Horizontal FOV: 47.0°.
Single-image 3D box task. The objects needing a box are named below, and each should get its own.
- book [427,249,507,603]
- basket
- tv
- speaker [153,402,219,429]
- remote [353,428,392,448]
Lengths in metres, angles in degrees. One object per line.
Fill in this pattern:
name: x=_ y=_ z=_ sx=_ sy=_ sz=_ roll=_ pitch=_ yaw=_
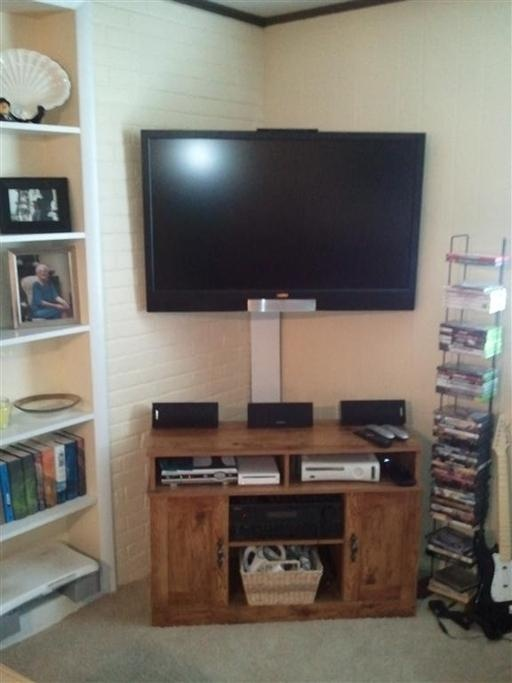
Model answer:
book: x=0.626 y=0.250 z=1.746 sx=0.152 sy=1.114 sz=0.316 roll=-11 pitch=14 yaw=-39
basket: x=0.068 y=0.691 z=1.746 sx=0.194 sy=0.119 sz=0.188 roll=1 pitch=4 yaw=-4
tv: x=0.088 y=-0.385 z=1.765 sx=0.571 sy=0.398 sz=0.061 roll=0 pitch=19 yaw=0
speaker: x=-0.228 y=0.227 z=1.922 sx=0.173 sy=0.089 sz=0.036 roll=0 pitch=0 yaw=-3
remote: x=0.352 y=0.279 z=1.777 sx=0.044 sy=0.017 sz=0.083 roll=-15 pitch=20 yaw=-19
